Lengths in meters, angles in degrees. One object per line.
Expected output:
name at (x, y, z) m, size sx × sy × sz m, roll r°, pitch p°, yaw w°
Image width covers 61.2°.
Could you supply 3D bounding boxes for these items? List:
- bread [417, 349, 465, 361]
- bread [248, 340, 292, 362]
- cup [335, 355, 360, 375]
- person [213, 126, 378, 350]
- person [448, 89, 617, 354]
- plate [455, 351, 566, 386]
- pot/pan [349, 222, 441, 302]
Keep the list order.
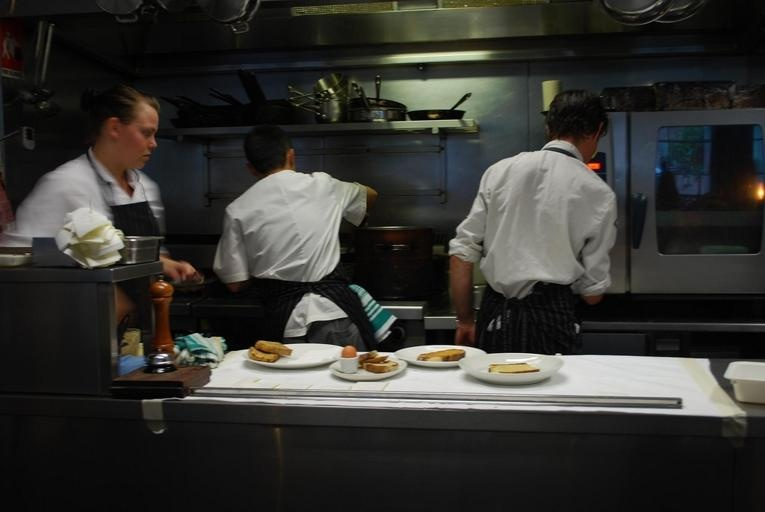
bread at (0.203, 0.340, 2.256) m, size 0.116 × 0.015 × 0.057 m, roll 0°, pitch 0°, yaw -30°
bread at (-0.403, 0.332, 2.286) m, size 0.109 × 0.028 × 0.093 m, roll -1°, pitch 3°, yaw -19°
cup at (-0.126, 0.359, 2.176) m, size 0.090 × 0.059 × 0.067 m, roll 1°, pitch 12°, yaw 7°
person at (-0.448, -0.092, 3.140) m, size 0.743 × 1.058 × 0.531 m, roll -3°, pitch 14°, yaw -12°
person at (0.627, -0.113, 2.744) m, size 0.673 × 1.160 × 0.396 m, roll 1°, pitch 14°, yaw 4°
plate at (0.433, 0.376, 2.164) m, size 0.304 × 0.065 × 0.256 m, roll 5°, pitch 12°, yaw 27°
pot/pan at (0.072, 0.023, 3.388) m, size 0.461 × 0.322 × 0.481 m, roll 3°, pitch 5°, yaw 38°
